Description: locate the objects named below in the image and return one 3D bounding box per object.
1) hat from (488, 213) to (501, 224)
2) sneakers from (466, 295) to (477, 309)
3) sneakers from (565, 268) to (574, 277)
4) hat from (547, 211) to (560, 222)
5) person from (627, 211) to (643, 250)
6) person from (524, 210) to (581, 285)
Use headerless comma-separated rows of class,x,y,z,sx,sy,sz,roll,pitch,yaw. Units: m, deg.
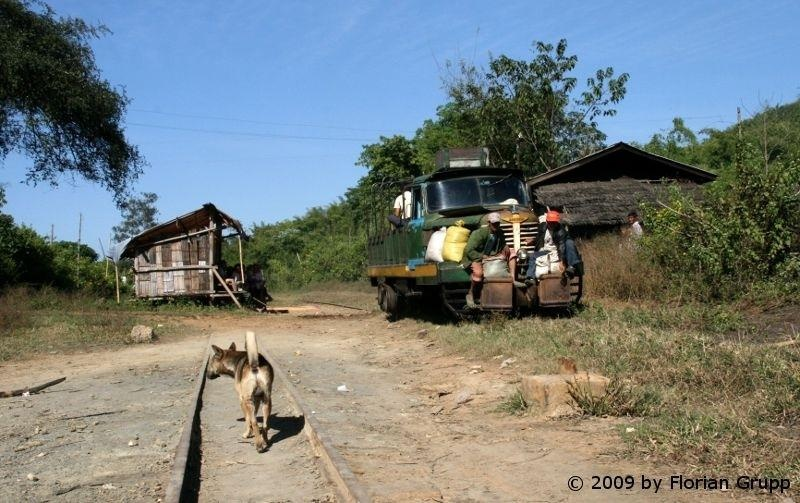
hat,2.325,-0.826,13.943,0.303,0.280,0.411,-1,2,8
sneakers,1.755,1.250,14.010,0.245,0.339,0.119,-5,9,2
sneakers,4.164,0.511,13.771,0.211,0.207,0.216,-8,10,-42
hat,3.779,-0.857,13.945,0.303,0.297,0.334,-1,2,9
person,7.918,-0.647,18.961,0.596,1.412,0.600,-4,-30,30
person,3.823,-0.123,13.995,1.325,1.760,0.681,-1,2,16
